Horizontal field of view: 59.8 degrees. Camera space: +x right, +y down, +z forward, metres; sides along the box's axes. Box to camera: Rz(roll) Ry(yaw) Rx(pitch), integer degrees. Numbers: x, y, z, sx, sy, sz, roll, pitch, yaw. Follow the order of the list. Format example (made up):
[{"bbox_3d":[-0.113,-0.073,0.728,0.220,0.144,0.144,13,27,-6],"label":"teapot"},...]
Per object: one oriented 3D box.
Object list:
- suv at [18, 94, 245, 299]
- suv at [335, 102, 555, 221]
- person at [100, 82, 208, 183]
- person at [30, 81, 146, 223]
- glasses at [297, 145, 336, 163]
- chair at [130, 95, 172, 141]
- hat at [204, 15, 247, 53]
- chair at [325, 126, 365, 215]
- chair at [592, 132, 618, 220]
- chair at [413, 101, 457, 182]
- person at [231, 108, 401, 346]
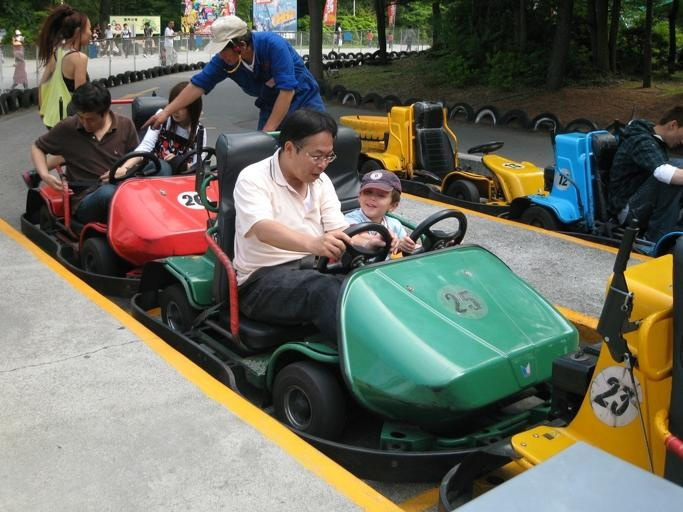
[{"bbox_3d":[-1.922,-0.534,5.433,2.218,1.418,1.427,22,15,40],"label":"suv"},{"bbox_3d":[1.303,-1.301,8.076,1.526,1.117,2.747,-20,32,-37],"label":"suv"},{"bbox_3d":[-1.517,-1.038,5.284,0.665,1.037,1.036,8,34,3],"label":"person"},{"bbox_3d":[-2.066,-0.670,5.046,0.809,1.491,0.799,-13,28,-38],"label":"person"},{"bbox_3d":[-0.148,-0.551,3.239,0.112,0.040,0.116,-5,35,-48],"label":"glasses"},{"bbox_3d":[-1.866,-1.312,5.667,0.332,0.514,0.440,-8,17,-28],"label":"chair"},{"bbox_3d":[-0.918,-1.740,4.649,0.344,0.281,0.330,-2,17,9],"label":"hat"},{"bbox_3d":[0.035,-0.685,4.608,0.403,0.654,0.526,-5,15,-21],"label":"chair"},{"bbox_3d":[2.698,-0.907,6.027,0.355,0.680,0.658,0,18,26],"label":"chair"},{"bbox_3d":[1.302,-1.536,8.004,0.641,1.090,0.851,-5,5,-10],"label":"chair"},{"bbox_3d":[-0.031,-0.228,3.952,1.163,1.815,0.847,6,9,38],"label":"person"}]
